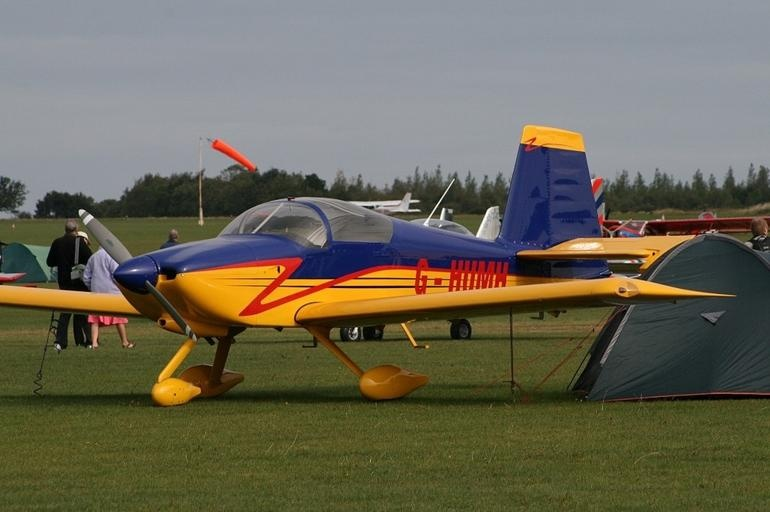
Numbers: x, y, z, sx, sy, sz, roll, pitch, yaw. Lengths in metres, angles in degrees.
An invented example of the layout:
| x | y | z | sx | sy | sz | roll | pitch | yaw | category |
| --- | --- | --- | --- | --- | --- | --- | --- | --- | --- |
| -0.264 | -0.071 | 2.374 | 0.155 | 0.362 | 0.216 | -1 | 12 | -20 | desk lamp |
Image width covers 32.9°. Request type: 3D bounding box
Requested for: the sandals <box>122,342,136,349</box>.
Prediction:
| x | y | z | sx | sy | sz | roll | pitch | yaw | category |
| --- | --- | --- | --- | --- | --- | --- | --- | --- | --- |
| -3.888 | 1.382 | 19.811 | 0.251 | 0.063 | 0.120 | 0 | 2 | 20 | sandals |

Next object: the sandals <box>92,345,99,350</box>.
| x | y | z | sx | sy | sz | roll | pitch | yaw | category |
| --- | --- | --- | --- | --- | --- | --- | --- | --- | --- |
| -4.333 | 1.394 | 19.575 | 0.055 | 0.045 | 0.146 | 1 | -3 | -23 | sandals |
